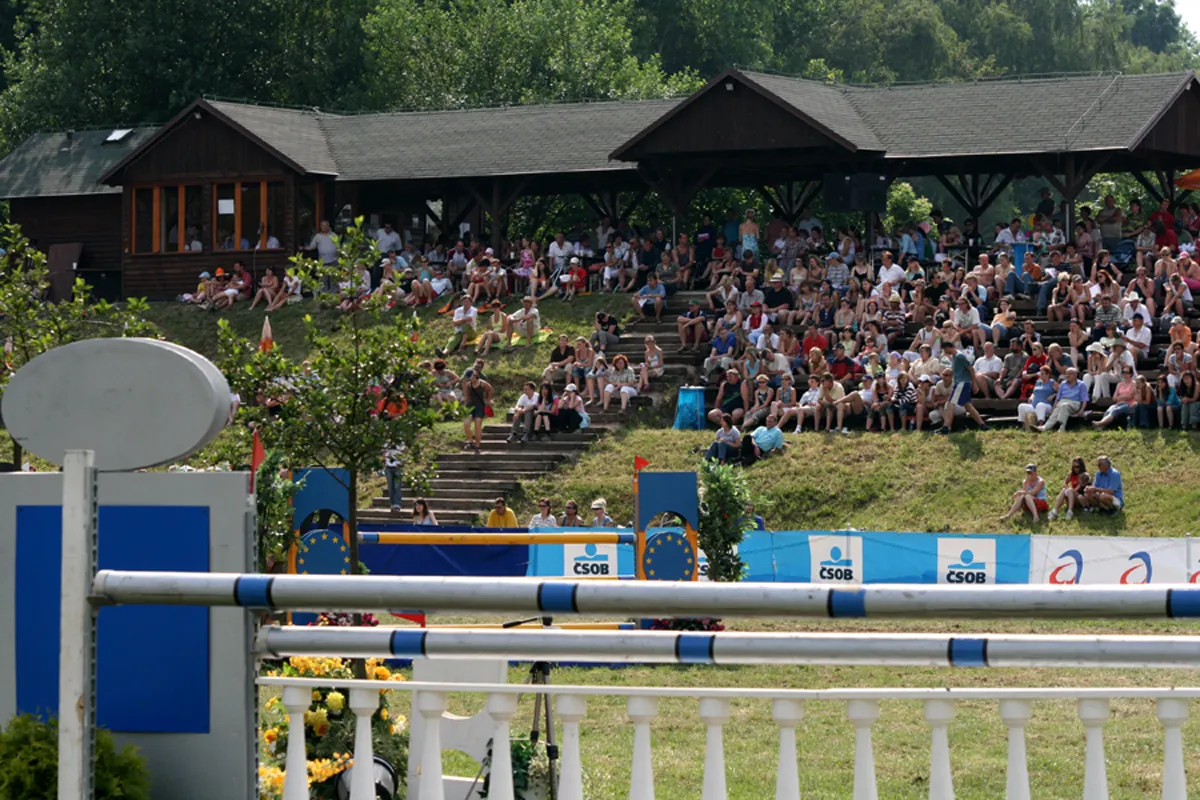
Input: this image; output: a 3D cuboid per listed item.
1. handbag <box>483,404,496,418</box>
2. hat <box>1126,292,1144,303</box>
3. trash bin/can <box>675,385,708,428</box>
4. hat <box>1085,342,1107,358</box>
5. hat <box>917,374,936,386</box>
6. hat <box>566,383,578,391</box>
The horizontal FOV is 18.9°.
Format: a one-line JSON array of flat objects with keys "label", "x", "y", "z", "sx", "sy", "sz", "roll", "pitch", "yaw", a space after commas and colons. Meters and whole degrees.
[{"label": "handbag", "x": -3.537, "y": 0.359, "z": 114.896, "sx": 0.388, "sy": 0.434, "sz": 0.249, "roll": 4, "pitch": 1, "yaw": 21}, {"label": "hat", "x": 16.310, "y": -3.196, "z": 111.802, "sx": 0.534, "sy": 0.332, "sz": 0.429, "roll": -1, "pitch": 2, "yaw": -9}, {"label": "trash bin/can", "x": 2.748, "y": 0.268, "z": 113.959, "sx": 1.064, "sy": 1.483, "sz": 1.116, "roll": 2, "pitch": -2, "yaw": 21}, {"label": "hat", "x": 15.031, "y": -1.553, "z": 110.871, "sx": 0.511, "sy": 0.394, "sz": 0.594, "roll": 0, "pitch": 2, "yaw": 18}, {"label": "hat", "x": 9.993, "y": -0.633, "z": 111.992, "sx": 0.578, "sy": 0.320, "sz": 0.239, "roll": -1, "pitch": 2, "yaw": 7}, {"label": "hat", "x": -0.982, "y": -0.393, "z": 115.070, "sx": 0.318, "sy": 0.343, "sz": 0.200, "roll": 6, "pitch": -2, "yaw": -41}]
